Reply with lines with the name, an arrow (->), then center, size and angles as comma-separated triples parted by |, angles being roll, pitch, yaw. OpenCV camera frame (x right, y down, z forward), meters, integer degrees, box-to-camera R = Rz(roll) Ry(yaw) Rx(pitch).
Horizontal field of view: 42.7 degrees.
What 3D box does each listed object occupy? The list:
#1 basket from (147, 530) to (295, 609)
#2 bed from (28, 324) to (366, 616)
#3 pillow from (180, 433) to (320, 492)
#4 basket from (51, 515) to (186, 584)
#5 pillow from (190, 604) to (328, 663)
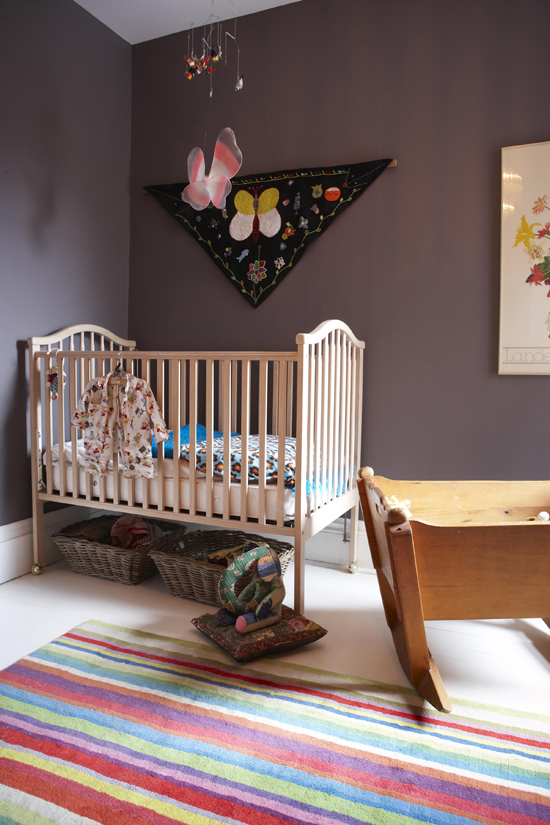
basket -> -0.273, 0.542, 2.528 | 0.329, 0.127, 0.280 | -1, 0, 28
bed -> -0.274, 0.127, 2.811 | 1.190, 0.955, 0.759 | 4, 9, 27
pillow -> -0.078, 0.151, 2.453 | 0.509, 0.178, 0.378 | 5, 9, 32
basket -> -0.577, 0.518, 2.782 | 0.302, 0.119, 0.339 | 2, 1, 25
pillow -> -0.047, 0.646, 2.164 | 0.285, 0.064, 0.285 | 17, -16, 23
